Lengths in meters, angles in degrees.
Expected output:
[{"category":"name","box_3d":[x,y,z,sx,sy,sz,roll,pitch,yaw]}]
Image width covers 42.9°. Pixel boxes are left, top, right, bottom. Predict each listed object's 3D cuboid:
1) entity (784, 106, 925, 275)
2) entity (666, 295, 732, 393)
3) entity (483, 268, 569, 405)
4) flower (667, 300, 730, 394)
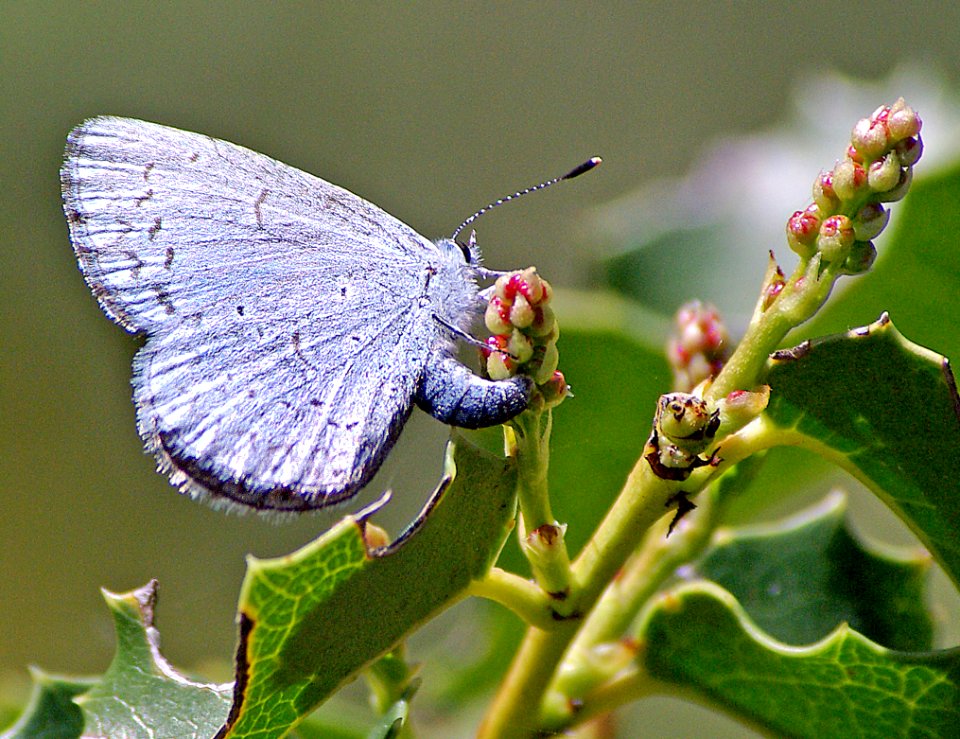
[{"category":"entity","box_3d":[0.602,-0.288,1.936,0.197,0.246,0.126,-19,38,-31]},{"category":"entity","box_3d":[0.452,-0.046,2.496,0.102,0.071,0.200,17,74,-15]},{"category":"entity","box_3d":[0.092,-0.048,2.005,0.121,0.231,0.104,-5,3,-43]},{"category":"flower","box_3d":[0.447,-0.045,2.496,0.105,0.067,0.196,12,75,-11]}]
